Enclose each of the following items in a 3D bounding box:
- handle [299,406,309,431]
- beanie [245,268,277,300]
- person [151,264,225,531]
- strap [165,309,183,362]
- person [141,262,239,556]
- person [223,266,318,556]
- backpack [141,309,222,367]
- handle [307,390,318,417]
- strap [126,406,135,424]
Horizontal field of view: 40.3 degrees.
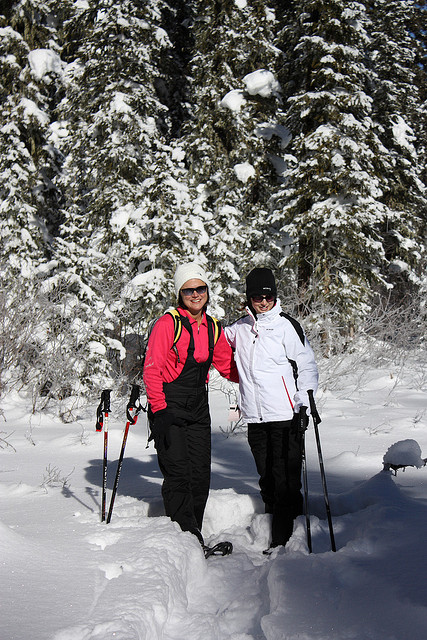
[{"bbox_3d":[0.612,0.666,3.971,0.064,0.164,0.158,2,5,8],"label":"handle"},{"bbox_3d":[0.346,-0.279,4.262,0.179,0.184,0.231,0,-6,-4],"label":"beanie"},{"bbox_3d":[-0.217,0.531,4.169,0.449,1.863,0.683,2,5,7],"label":"person"},{"bbox_3d":[-0.265,0.079,4.120,0.102,0.297,0.123,4,6,23],"label":"strap"},{"bbox_3d":[-0.150,0.565,4.278,0.644,1.865,0.690,0,0,-20],"label":"person"},{"bbox_3d":[0.472,0.631,4.288,0.503,2.019,0.837,0,6,-15],"label":"person"},{"bbox_3d":[-0.238,0.110,4.296,0.370,0.422,0.572,-3,2,37],"label":"backpack"},{"bbox_3d":[0.679,0.567,3.973,0.050,0.185,0.032,-7,-18,3],"label":"handle"},{"bbox_3d":[-0.609,0.699,4.311,0.085,0.117,0.032,4,-5,25],"label":"strap"}]
